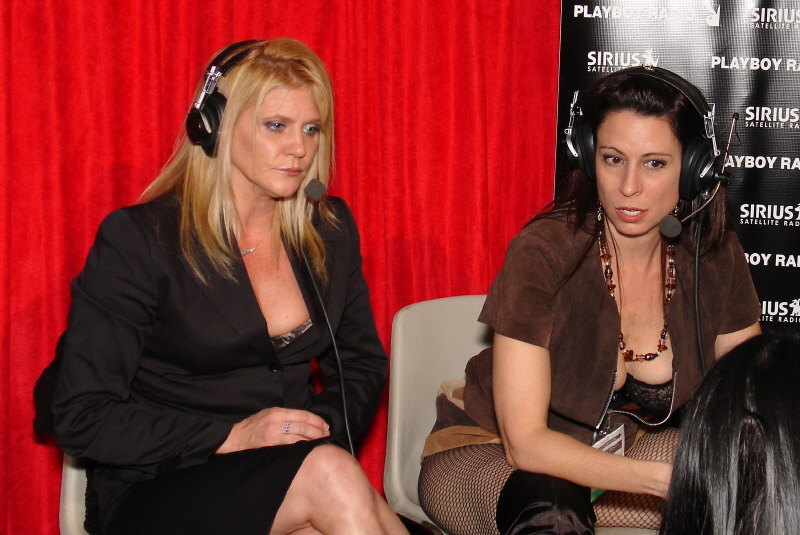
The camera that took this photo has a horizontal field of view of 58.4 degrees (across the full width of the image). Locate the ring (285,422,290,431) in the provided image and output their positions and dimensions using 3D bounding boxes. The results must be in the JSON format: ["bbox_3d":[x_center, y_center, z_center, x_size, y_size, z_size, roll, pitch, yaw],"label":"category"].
[{"bbox_3d":[-0.338,0.481,2.177,0.016,0.036,0.011,4,-17,-24],"label":"ring"}]

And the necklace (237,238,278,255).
[{"bbox_3d":[-0.471,-0.079,2.476,0.172,0.036,0.023,-15,-10,-27],"label":"necklace"}]

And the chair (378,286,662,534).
[{"bbox_3d":[0.414,0.457,2.780,0.810,0.976,0.765,6,-9,-29],"label":"chair"}]

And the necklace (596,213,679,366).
[{"bbox_3d":[0.799,0.103,2.318,0.242,0.515,0.116,4,-5,4],"label":"necklace"}]
